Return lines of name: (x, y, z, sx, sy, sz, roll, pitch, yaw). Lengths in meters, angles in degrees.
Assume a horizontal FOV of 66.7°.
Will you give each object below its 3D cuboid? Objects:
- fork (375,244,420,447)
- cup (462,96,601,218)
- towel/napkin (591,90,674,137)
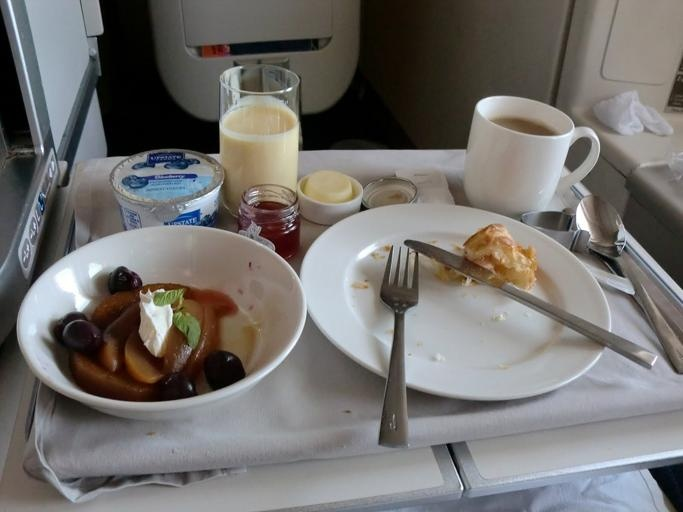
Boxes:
fork: (0.079, 0.109, 0.712, 0.040, 0.027, 0.333, 6, 45, 4)
cup: (0.343, -0.181, 1.015, 0.241, 0.202, 0.194, 15, 46, 11)
towel/napkin: (0.797, -0.383, 1.421, 0.161, 0.065, 0.128, 18, 50, 21)
